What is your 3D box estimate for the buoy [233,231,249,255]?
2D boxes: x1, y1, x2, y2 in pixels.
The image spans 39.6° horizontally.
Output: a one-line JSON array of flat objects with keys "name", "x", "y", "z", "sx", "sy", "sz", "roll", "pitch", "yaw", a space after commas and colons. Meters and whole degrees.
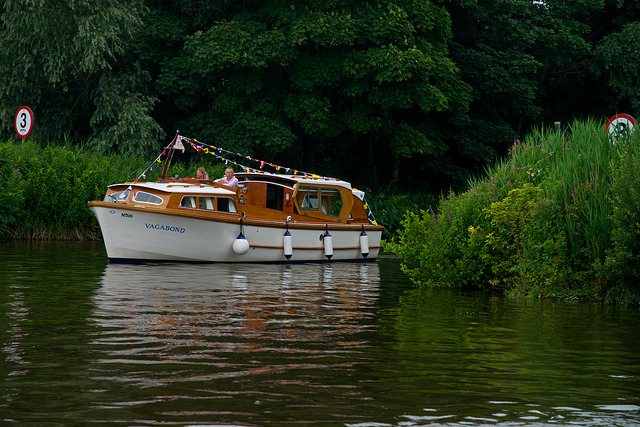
[{"name": "buoy", "x": -2.350, "y": 0.958, "z": 26.809, "sx": 0.314, "sy": 0.653, "sz": 0.466, "roll": 9, "pitch": 12, "yaw": 40}]

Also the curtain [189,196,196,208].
[{"name": "curtain", "x": -3.733, "y": -0.326, "z": 26.241, "sx": 0.088, "sy": 0.374, "sz": 0.252, "roll": -18, "pitch": 0, "yaw": 31}]

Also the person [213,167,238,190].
[{"name": "person", "x": -2.850, "y": -1.075, "z": 28.164, "sx": 0.595, "sy": 0.686, "sz": 0.818, "roll": 0, "pitch": -7, "yaw": 16}]
